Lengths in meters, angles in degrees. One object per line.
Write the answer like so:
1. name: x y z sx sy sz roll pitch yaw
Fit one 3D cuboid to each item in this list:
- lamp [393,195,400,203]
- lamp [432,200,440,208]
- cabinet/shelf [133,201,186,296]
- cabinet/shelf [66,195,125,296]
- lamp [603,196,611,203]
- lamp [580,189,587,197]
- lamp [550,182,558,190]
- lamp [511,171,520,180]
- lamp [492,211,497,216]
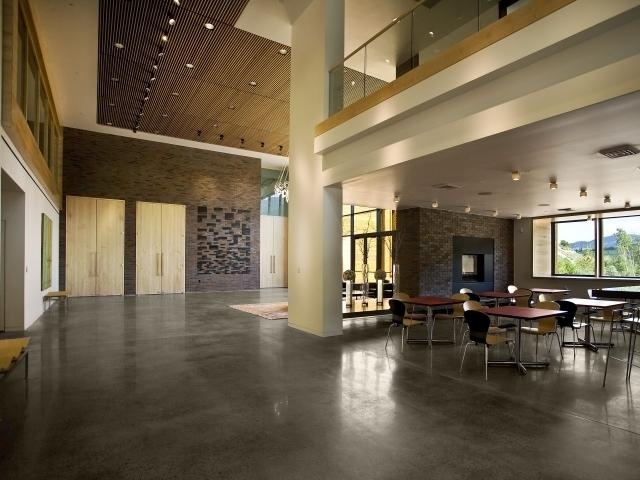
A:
1. lamp: 1.826 -0.988 10.295 0.132 0.144 0.148 1 3 1
2. lamp: 2.934 -0.924 11.068 0.214 0.155 0.238 3 5 34
3. cabinet/shelf: -6.182 0.313 16.583 1.700 3.448 0.727 -3 7 -23
4. cabinet/shelf: -7.989 0.221 15.422 1.914 3.544 0.672 -3 8 -27
5. lamp: 6.640 -0.947 10.011 0.185 0.168 0.147 -3 -6 34
6. lamp: 5.645 -0.990 9.255 0.160 0.171 0.161 -1 -1 23
7. lamp: 4.678 -1.091 8.650 0.139 0.123 0.137 -1 0 5
8. lamp: 3.631 -1.190 7.995 0.148 0.144 0.138 -1 -4 -3
9. lamp: 5.275 -0.807 13.086 0.148 0.205 0.152 3 13 26
